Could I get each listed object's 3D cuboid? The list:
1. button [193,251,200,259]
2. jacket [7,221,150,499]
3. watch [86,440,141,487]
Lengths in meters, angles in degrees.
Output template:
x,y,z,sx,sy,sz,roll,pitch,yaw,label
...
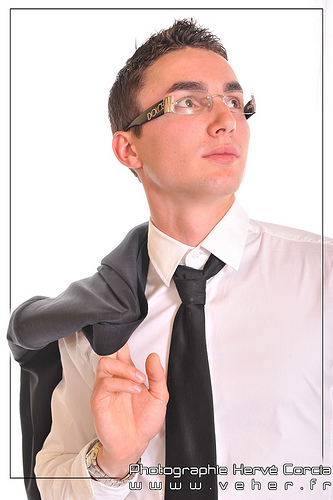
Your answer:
x,y,z,sx,sy,sz,roll,pitch,yaw,label
0.074,0.011,1.183,0.016,0.015,0.004,3,4,4,button
-0.176,0.337,1.398,0.484,0.739,0.283,-10,-14,25,jacket
-0.139,0.549,1.205,0.107,0.090,0.041,19,-15,1,watch
